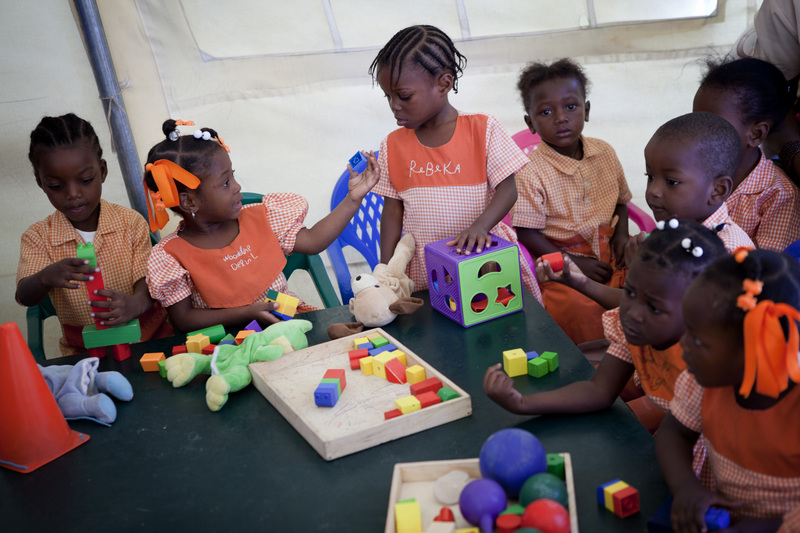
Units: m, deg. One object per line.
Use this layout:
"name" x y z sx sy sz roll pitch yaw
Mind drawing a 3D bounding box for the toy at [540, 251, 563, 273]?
"toy" 0.510 -0.018 1.969 0.083 0.055 0.060 -10 15 -4

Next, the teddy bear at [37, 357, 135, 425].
"teddy bear" -0.975 0.410 1.821 0.248 0.098 0.175 14 32 18

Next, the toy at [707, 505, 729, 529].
"toy" 0.713 0.562 1.314 0.041 0.043 0.051 -9 -2 -6

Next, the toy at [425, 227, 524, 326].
"toy" 0.232 0.040 2.080 0.313 0.309 0.301 -17 23 -36

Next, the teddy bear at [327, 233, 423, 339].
"teddy bear" -0.018 0.061 2.170 0.221 0.150 0.382 3 57 28

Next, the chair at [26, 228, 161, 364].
"chair" -1.202 0.096 2.308 0.378 0.511 0.367 -24 27 -39
